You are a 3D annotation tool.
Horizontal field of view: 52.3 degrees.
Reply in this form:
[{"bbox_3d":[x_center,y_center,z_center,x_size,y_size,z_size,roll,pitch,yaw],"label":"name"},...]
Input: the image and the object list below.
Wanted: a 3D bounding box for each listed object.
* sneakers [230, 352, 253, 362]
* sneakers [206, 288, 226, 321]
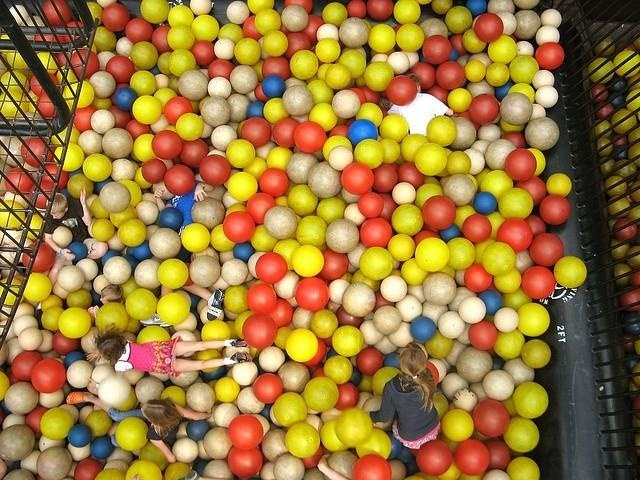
[{"bbox_3d":[-0.698,1.029,5.728,0.142,0.044,0.089,2,94,-20],"label":"sneakers"},{"bbox_3d":[-0.955,0.598,5.949,0.142,0.104,0.290,9,95,-15],"label":"sneakers"}]
